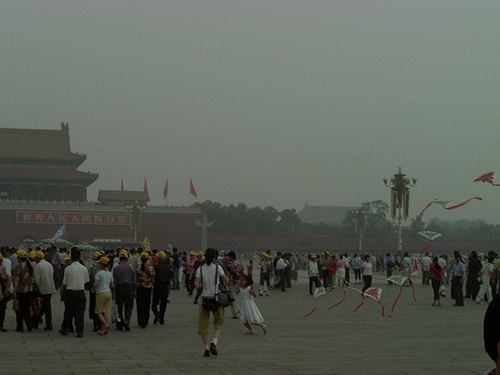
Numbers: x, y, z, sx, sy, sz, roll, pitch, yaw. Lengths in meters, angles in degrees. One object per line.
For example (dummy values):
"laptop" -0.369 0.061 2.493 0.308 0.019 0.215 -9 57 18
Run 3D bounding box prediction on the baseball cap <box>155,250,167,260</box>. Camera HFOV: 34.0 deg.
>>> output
"baseball cap" -1.753 1.316 15.907 0.154 0.084 0.220 16 7 -27

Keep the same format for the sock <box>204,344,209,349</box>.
"sock" -0.671 2.423 12.467 0.043 0.063 0.062 1 -6 -11

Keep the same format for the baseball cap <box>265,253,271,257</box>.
"baseball cap" 0.493 2.003 23.929 0.191 0.059 0.195 13 10 25

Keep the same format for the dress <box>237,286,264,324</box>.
"dress" -0.018 2.081 14.486 0.311 0.657 0.531 3 -6 -28

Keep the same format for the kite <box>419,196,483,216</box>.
"kite" 2.580 0.218 10.639 0.624 0.201 0.633 -13 -1 16

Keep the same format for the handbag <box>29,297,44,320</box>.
"handbag" -3.791 2.148 14.484 0.256 0.414 0.430 2 -6 -15

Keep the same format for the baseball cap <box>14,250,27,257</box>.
"baseball cap" -4.090 1.178 14.604 0.178 0.123 0.231 2 -6 -17

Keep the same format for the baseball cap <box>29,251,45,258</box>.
"baseball cap" -4.024 1.260 15.359 0.256 0.098 0.190 15 -3 22

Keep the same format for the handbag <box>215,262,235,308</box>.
"handbag" -0.431 1.535 12.749 0.353 0.647 0.258 4 7 13

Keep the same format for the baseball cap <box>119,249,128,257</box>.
"baseball cap" -2.323 1.205 14.999 0.143 0.136 0.439 1 -5 -10

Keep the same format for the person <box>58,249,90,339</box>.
"person" -3.020 1.809 14.009 0.478 1.505 0.503 1 -6 -11

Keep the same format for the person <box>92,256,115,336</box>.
"person" -2.570 1.885 14.251 0.364 1.365 0.529 1 -6 -10

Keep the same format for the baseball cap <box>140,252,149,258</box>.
"baseball cap" -2.001 1.274 15.425 0.142 0.103 0.199 3 -6 -11

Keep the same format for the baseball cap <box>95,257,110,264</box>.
"baseball cap" -2.627 1.286 14.395 0.246 0.111 0.203 0 -5 6

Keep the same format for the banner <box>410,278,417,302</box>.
"banner" 4.608 2.912 23.062 0.089 1.059 0.146 -7 -14 6
